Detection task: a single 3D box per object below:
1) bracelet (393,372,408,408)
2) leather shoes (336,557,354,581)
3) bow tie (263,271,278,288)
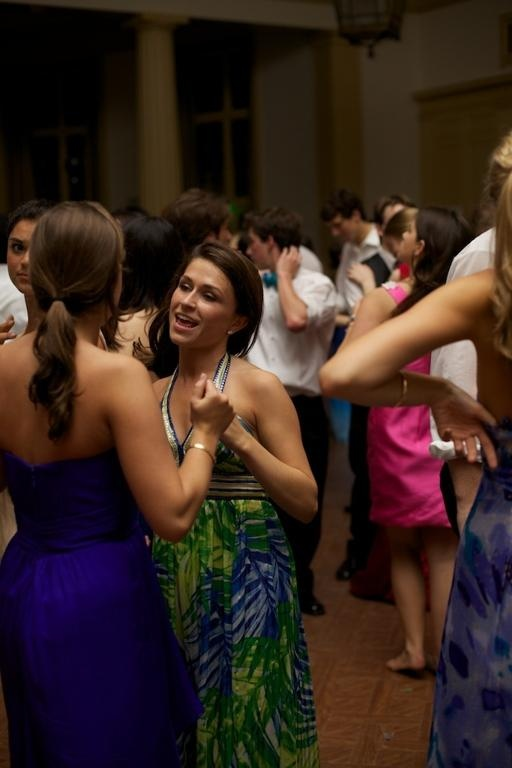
[{"bbox_3d":[0.232,0.006,0.950,0.016,0.048,0.033,3,-4,2],"label":"bracelet"},{"bbox_3d":[0.528,1.107,3.542,0.040,0.120,0.080,14,-6,-20],"label":"leather shoes"},{"bbox_3d":[0.077,-0.593,3.340,0.070,0.086,0.099,-2,-39,3],"label":"bow tie"}]
